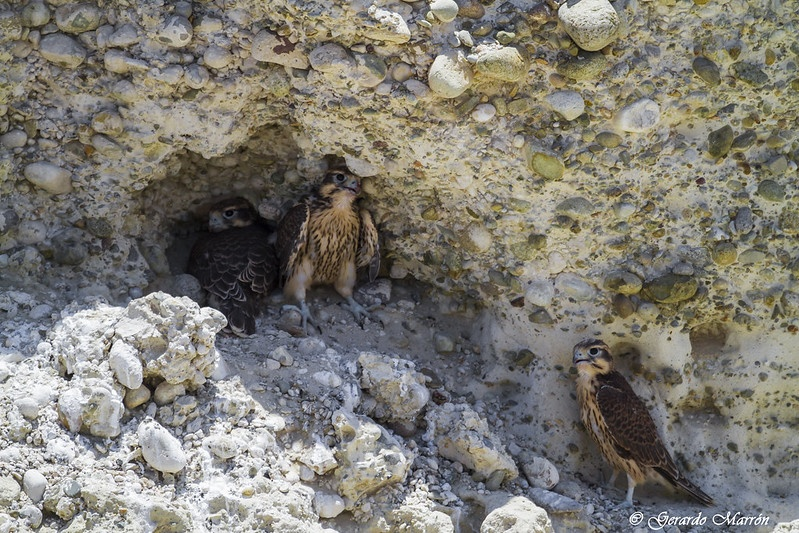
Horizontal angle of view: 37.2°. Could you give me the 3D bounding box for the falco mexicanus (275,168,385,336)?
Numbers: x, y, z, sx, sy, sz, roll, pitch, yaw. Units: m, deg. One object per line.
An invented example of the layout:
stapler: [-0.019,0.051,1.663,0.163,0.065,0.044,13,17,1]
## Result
falco mexicanus: [-0.569,-0.193,8.917,0.810,1.020,0.563,-14,19,-5]

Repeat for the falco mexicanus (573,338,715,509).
falco mexicanus: [1.676,1.148,8.512,1.225,1.105,0.516,7,-4,-13]
